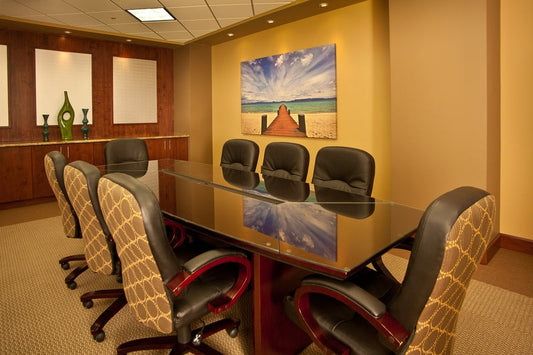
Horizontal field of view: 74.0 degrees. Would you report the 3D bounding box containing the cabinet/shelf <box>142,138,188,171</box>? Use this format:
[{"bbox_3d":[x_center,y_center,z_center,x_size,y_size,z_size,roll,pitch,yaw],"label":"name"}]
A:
[{"bbox_3d":[-1.829,-0.443,6.225,0.648,0.656,0.253,-3,7,-28],"label":"cabinet/shelf"}]

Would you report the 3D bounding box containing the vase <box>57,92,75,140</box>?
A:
[{"bbox_3d":[-3.653,-1.143,6.406,0.297,0.854,0.337,-9,15,-30],"label":"vase"}]

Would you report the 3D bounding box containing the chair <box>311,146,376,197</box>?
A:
[{"bbox_3d":[0.825,-0.120,3.719,0.470,0.739,0.574,7,6,40],"label":"chair"}]

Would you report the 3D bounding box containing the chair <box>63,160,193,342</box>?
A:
[{"bbox_3d":[-1.481,0.519,3.841,1.427,1.681,1.367,12,14,44],"label":"chair"}]

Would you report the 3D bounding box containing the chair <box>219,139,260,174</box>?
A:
[{"bbox_3d":[-0.296,-0.292,4.695,0.367,0.605,0.482,3,3,34],"label":"chair"}]

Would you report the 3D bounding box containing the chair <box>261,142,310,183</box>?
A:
[{"bbox_3d":[0.220,-0.205,4.210,0.471,0.682,0.488,3,5,37],"label":"chair"}]
